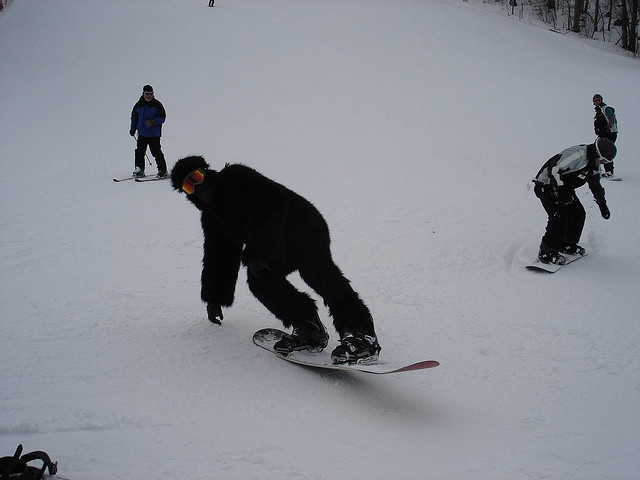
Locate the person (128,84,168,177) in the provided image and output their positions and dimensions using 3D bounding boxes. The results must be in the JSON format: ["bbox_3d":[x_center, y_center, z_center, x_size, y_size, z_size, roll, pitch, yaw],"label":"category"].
[{"bbox_3d":[-2.903,-1.811,11.982,0.609,1.542,0.831,-5,11,-14],"label":"person"}]

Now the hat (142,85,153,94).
[{"bbox_3d":[-2.846,-2.475,11.746,0.167,0.076,0.235,-5,10,-21],"label":"hat"}]

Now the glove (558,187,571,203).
[{"bbox_3d":[2.962,-0.531,8.606,0.109,0.207,0.053,-36,2,-10],"label":"glove"}]

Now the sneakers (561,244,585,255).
[{"bbox_3d":[3.203,0.133,8.951,0.271,0.116,0.125,-2,10,7],"label":"sneakers"}]

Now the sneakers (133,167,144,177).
[{"bbox_3d":[-3.090,-1.144,12.077,0.201,0.145,0.125,11,19,38],"label":"sneakers"}]

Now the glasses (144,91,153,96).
[{"bbox_3d":[-2.814,-2.414,11.679,0.126,0.053,0.087,-8,13,-27],"label":"glasses"}]

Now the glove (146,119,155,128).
[{"bbox_3d":[-2.800,-1.929,11.717,0.155,0.144,0.037,-7,5,-15],"label":"glove"}]

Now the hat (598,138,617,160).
[{"bbox_3d":[3.396,-1.057,8.399,0.218,0.283,0.206,2,12,21],"label":"hat"}]

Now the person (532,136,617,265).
[{"bbox_3d":[3.103,-0.484,8.738,0.896,1.516,0.596,-1,11,9],"label":"person"}]
